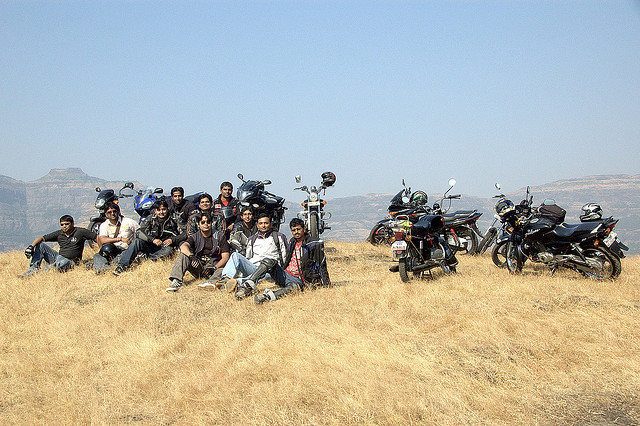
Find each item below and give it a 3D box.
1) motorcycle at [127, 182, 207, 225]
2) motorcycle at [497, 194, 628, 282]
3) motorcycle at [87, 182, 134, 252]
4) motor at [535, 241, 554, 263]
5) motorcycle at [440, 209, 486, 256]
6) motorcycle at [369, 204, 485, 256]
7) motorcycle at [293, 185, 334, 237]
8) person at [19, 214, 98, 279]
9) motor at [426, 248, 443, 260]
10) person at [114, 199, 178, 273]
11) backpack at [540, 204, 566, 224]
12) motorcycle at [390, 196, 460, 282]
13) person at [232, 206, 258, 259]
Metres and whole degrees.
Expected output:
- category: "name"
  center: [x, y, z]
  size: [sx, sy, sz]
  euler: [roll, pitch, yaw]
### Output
- category: "motorcycle"
  center: [-3.946, -0.142, 14.788]
  size: [1.528, 0.962, 0.985]
  euler: [-5, 12, -34]
- category: "motorcycle"
  center: [5.620, 0.499, 13.246]
  size: [3.073, 2.039, 1.521]
  euler: [3, 10, 42]
- category: "motorcycle"
  center: [-5.947, 0.154, 16.194]
  size: [1.117, 1.947, 2.354]
  euler: [-1, 2, -23]
- category: "motor"
  center: [4.938, 0.890, 12.711]
  size: [0.230, 0.275, 0.416]
  euler: [-3, 23, -6]
- category: "motorcycle"
  center: [3.559, 0.555, 15.781]
  size: [1.730, 1.165, 0.977]
  euler: [1, 2, 4]
- category: "motorcycle"
  center: [2.950, 0.395, 16.279]
  size: [3.108, 2.027, 1.630]
  euler: [2, 13, 10]
- category: "motorcycle"
  center: [-0.193, -0.184, 18.183]
  size: [1.314, 2.014, 2.877]
  euler: [-1, 10, 1]
- category: "person"
  center: [-6.636, 0.838, 14.557]
  size: [1.597, 1.482, 0.816]
  euler: [-2, 2, -29]
- category: "motor"
  center: [2.525, 0.920, 12.772]
  size: [0.267, 0.279, 0.239]
  euler: [6, 4, 5]
- category: "person"
  center: [-4.245, 0.569, 14.341]
  size: [1.140, 1.621, 2.687]
  euler: [6, 10, 10]
- category: "backpack"
  center: [5.241, -0.020, 12.961]
  size: [0.443, 0.172, 0.407]
  euler: [19, 31, 32]
- category: "motorcycle"
  center: [2.249, 0.757, 12.740]
  size: [0.999, 1.243, 1.891]
  euler: [-10, 3, 33]
- category: "person"
  center: [-1.827, 0.460, 13.718]
  size: [0.804, 1.133, 0.435]
  euler: [2, -6, -12]
